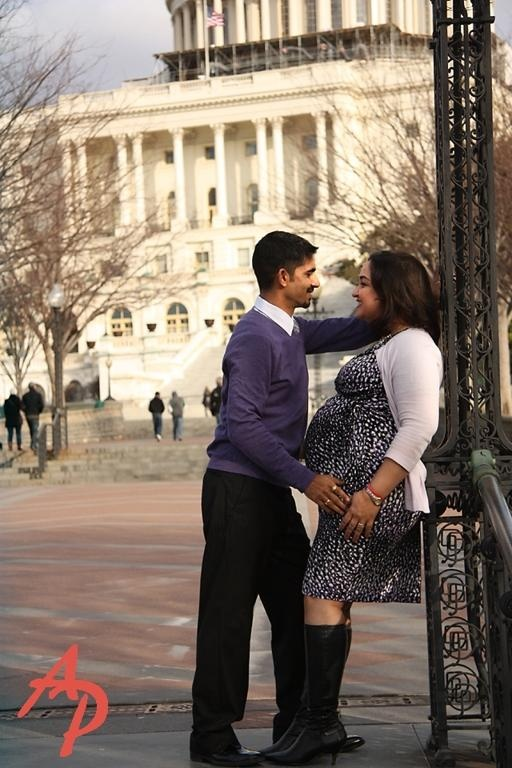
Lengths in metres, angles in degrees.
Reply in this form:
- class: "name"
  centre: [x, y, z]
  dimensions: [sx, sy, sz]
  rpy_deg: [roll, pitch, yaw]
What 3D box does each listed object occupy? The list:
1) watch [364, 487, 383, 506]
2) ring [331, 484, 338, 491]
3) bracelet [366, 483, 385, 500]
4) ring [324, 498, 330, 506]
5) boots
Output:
- class: "watch"
  centre: [0.400, 0.395, 4.540]
  dimensions: [0.038, 0.064, 0.058]
  rpy_deg: [-37, -22, 17]
- class: "ring"
  centre: [0.265, 0.359, 4.541]
  dimensions: [0.020, 0.005, 0.019]
  rpy_deg: [2, -41, 2]
- class: "bracelet"
  centre: [0.401, 0.376, 4.518]
  dimensions: [0.034, 0.057, 0.049]
  rpy_deg: [-42, -23, 28]
- class: "ring"
  centre: [0.243, 0.410, 4.538]
  dimensions: [0.015, 0.019, 0.008]
  rpy_deg: [10, 18, 32]
- class: "boots"
  centre: [0.184, 1.086, 4.660]
  dimensions: [0.357, 0.483, 0.219]
  rpy_deg: [-3, 4, 3]
